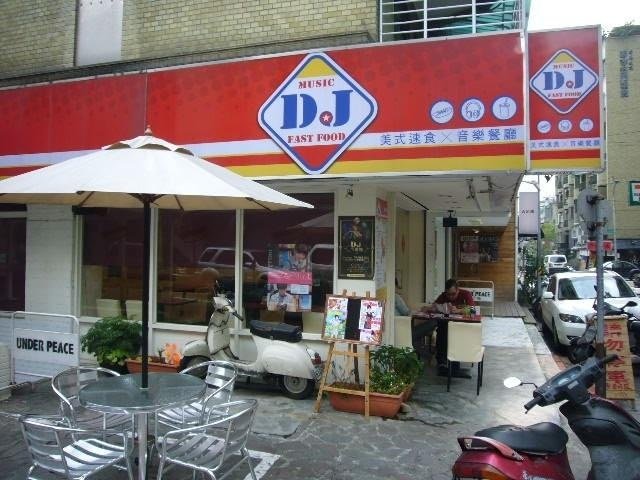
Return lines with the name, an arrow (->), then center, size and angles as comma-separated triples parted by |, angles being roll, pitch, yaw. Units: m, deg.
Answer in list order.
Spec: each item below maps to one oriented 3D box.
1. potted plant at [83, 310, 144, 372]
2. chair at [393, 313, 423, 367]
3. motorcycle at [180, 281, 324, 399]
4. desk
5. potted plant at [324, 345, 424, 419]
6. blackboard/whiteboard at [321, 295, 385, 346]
potted plant -> -3.463, 1.697, 9.768 | 1.088, 1.141, 0.917 | 2, 5, 4
chair -> 1.528, 1.615, 9.863 | 0.464, 0.650, 0.476 | 1, -1, 14
motorcycle -> -1.217, 1.649, 9.043 | 2.454, 1.912, 1.236 | 3, 1, 17
desk -> 2.328, 1.911, 10.971 | 1.176, 1.176, 1.214 | 2, 9, 19
potted plant -> 0.817, 2.055, 8.463 | 1.148, 0.825, 0.961 | -2, -3, 23
blackboard/whiteboard -> 0.497, 1.195, 8.379 | 0.768, 0.671, 0.090 | 3, -13, 14
